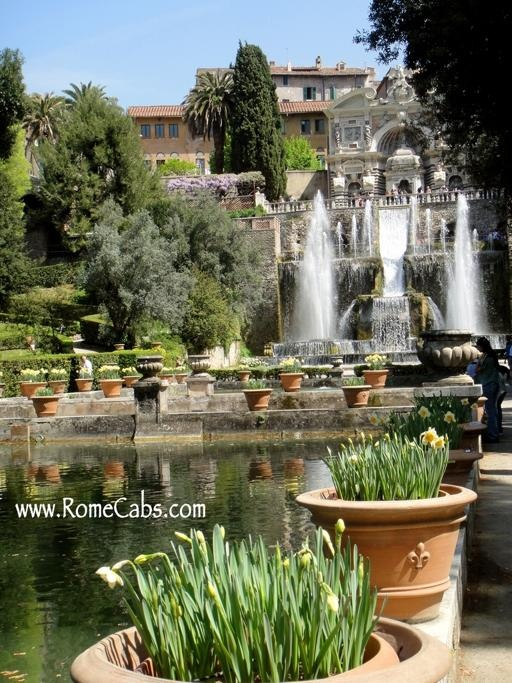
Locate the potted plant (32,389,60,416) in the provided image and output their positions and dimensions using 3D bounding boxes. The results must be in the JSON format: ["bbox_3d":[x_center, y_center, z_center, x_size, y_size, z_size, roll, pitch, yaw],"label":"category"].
[{"bbox_3d":[-4.173,1.230,16.512,0.489,0.576,0.539,-1,-8,6],"label":"potted plant"}]

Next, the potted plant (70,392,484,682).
[{"bbox_3d":[0.443,0.828,3.533,0.825,0.571,1.156,-3,0,31],"label":"potted plant"}]

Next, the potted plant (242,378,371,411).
[{"bbox_3d":[1.013,1.004,15.877,1.991,0.527,0.521,-3,1,1],"label":"potted plant"}]
